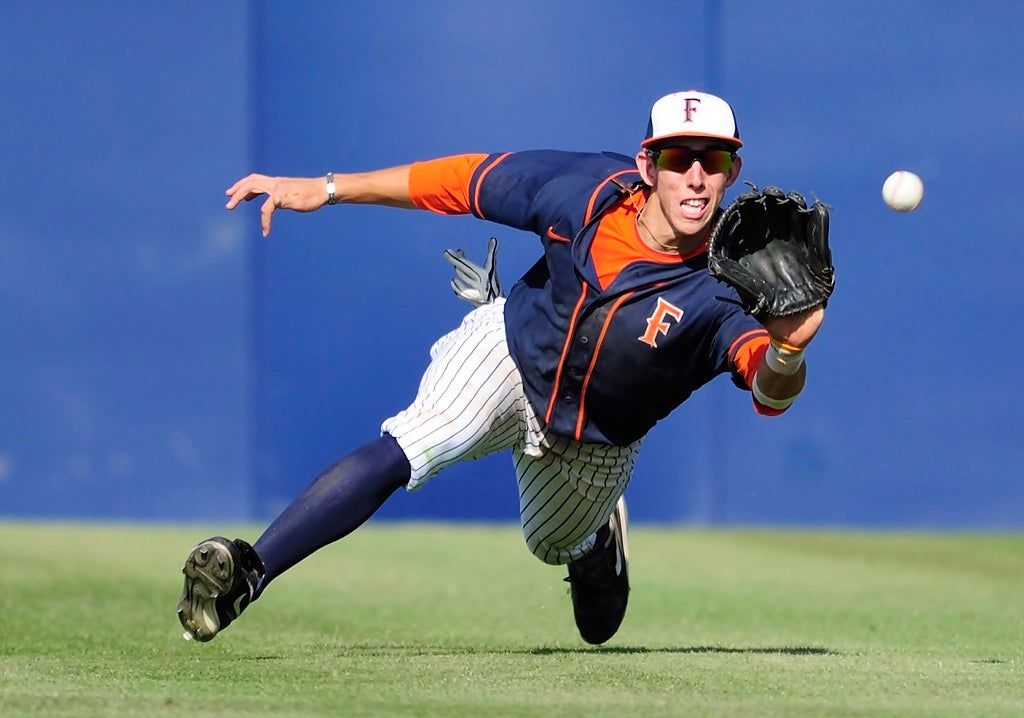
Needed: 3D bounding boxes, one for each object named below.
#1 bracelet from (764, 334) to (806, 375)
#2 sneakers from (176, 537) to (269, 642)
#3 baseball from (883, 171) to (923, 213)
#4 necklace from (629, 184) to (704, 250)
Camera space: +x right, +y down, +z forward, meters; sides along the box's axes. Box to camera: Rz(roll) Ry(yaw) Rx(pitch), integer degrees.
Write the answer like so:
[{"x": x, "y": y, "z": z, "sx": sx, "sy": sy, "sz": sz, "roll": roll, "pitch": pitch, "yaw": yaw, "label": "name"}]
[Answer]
[{"x": 1.180, "y": -0.011, "z": 6.366, "sx": 0.133, "sy": 0.146, "sz": 0.151, "roll": 11, "pitch": 33, "yaw": -5, "label": "bracelet"}, {"x": -1.278, "y": 0.979, "z": 6.413, "sx": 0.250, "sy": 0.542, "sz": 0.281, "roll": 45, "pitch": 41, "yaw": 15, "label": "sneakers"}, {"x": 2.087, "y": -0.904, "z": 7.841, "sx": 0.201, "sy": 0.198, "sz": 0.180, "roll": 9, "pitch": 4, "yaw": 9, "label": "baseball"}, {"x": 0.722, "y": -0.625, "z": 6.889, "sx": 0.232, "sy": 0.320, "sz": 0.165, "roll": 4, "pitch": 41, "yaw": 44, "label": "necklace"}]
